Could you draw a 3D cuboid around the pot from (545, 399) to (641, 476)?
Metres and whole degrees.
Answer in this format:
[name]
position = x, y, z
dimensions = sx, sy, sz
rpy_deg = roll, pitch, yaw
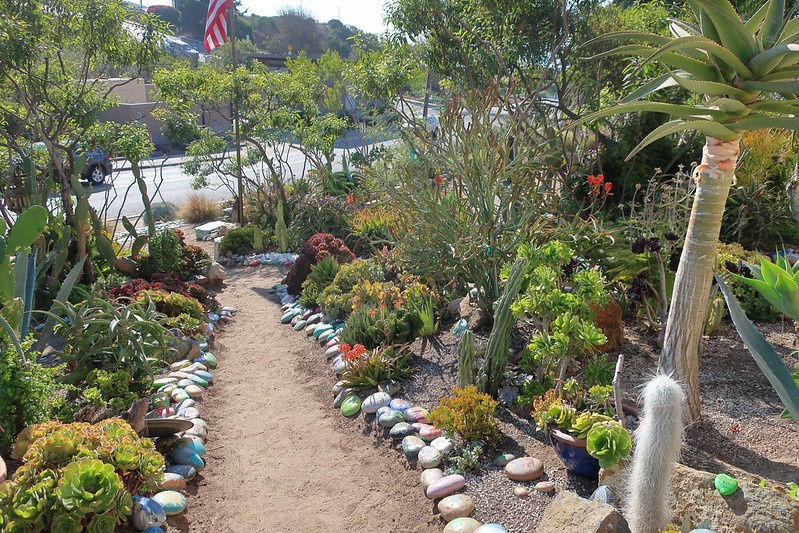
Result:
[pot]
position = 1.481, 1.359, 4.880
dimensions = 0.736, 0.615, 0.846
rpy_deg = -15, -9, 20
